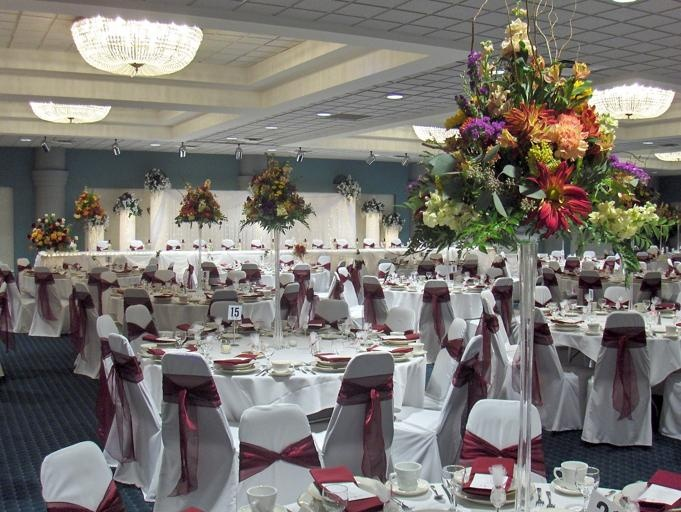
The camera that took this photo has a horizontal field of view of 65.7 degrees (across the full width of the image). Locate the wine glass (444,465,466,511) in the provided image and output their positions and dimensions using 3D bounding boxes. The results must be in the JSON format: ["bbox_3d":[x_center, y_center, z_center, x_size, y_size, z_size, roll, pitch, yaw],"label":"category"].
[{"bbox_3d":[0.478,0.999,2.232,0.091,0.185,0.277,0,-1,12],"label":"wine glass"}]

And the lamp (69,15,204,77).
[{"bbox_3d":[-2.534,-2.649,6.583,1.371,0.491,1.002,-1,-2,27],"label":"lamp"}]

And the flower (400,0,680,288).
[{"bbox_3d":[0.667,-0.414,1.830,0.875,0.992,0.357,0,-1,6],"label":"flower"}]

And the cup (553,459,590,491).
[{"bbox_3d":[0.977,0.958,2.282,0.164,0.141,0.138,-3,3,10],"label":"cup"}]

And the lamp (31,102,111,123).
[{"bbox_3d":[-5.284,-2.826,10.402,0.791,0.251,0.812,0,-1,-24],"label":"lamp"}]

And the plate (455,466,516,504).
[{"bbox_3d":[0.628,0.920,2.176,0.207,0.074,0.271,6,-8,-35],"label":"plate"}]

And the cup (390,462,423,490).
[{"bbox_3d":[0.306,1.009,2.433,0.113,0.110,0.144,0,-1,7],"label":"cup"}]

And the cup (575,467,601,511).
[{"bbox_3d":[1.003,0.951,2.155,0.071,0.136,0.214,0,-1,30],"label":"cup"}]
